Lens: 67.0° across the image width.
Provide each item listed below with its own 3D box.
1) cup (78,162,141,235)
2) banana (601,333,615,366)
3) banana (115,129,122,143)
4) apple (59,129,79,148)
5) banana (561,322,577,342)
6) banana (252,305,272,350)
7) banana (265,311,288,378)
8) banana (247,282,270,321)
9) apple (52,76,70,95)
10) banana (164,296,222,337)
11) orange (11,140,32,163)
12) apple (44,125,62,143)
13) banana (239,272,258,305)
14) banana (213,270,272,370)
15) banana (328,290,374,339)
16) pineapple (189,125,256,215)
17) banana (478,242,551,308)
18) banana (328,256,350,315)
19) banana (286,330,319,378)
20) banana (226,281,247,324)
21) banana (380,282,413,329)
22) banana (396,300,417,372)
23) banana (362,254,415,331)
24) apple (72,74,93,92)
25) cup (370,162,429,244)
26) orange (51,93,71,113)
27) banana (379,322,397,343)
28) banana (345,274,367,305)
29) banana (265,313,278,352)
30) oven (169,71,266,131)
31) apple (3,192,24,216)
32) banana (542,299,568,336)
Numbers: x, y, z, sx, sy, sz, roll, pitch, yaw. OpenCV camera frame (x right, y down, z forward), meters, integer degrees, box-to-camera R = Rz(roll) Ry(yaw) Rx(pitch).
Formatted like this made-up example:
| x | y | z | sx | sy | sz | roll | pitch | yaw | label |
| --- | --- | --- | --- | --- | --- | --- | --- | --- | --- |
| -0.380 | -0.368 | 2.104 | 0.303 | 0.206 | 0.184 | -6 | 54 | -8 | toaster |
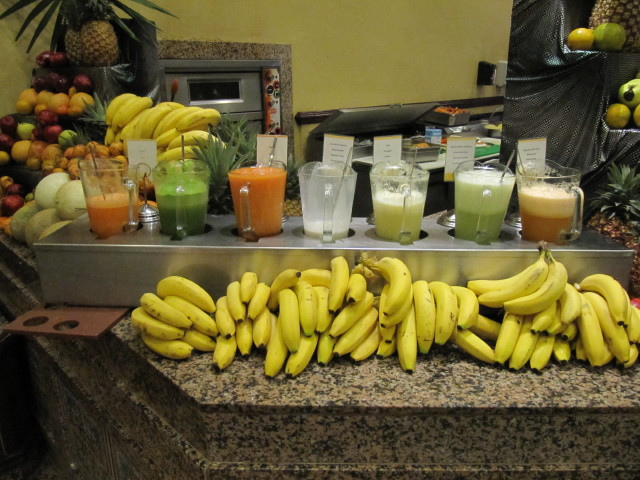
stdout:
| x | y | z | sx | sy | sz | roll | pitch | yaw | label |
| --- | --- | --- | --- | --- | --- | --- | --- | --- | --- |
| -0.837 | -0.129 | 2.007 | 0.202 | 0.306 | 0.309 | -7 | 1 | -7 | cup |
| 0.943 | 0.356 | 1.594 | 0.030 | 0.106 | 0.037 | -13 | 2 | -21 | banana |
| -1.104 | -0.568 | 2.680 | 0.032 | 0.069 | 0.056 | 24 | 34 | 13 | banana |
| -1.468 | -0.585 | 2.833 | 0.102 | 0.095 | 0.131 | -9 | 17 | -31 | apple |
| 0.831 | 0.307 | 1.613 | 0.032 | 0.023 | 0.070 | 40 | 51 | -4 | banana |
| -0.190 | 0.290 | 1.612 | 0.045 | 0.041 | 0.137 | 30 | 46 | -14 | banana |
| -0.127 | 0.336 | 1.565 | 0.051 | 0.064 | 0.196 | 6 | 58 | 4 | banana |
| -0.207 | 0.206 | 1.645 | 0.043 | 0.045 | 0.135 | 20 | 53 | 0 | banana |
| -1.620 | -0.961 | 3.026 | 0.148 | 0.109 | 0.049 | 8 | 16 | 28 | apple |
| -0.427 | 0.261 | 1.620 | 0.169 | 0.047 | 0.049 | 34 | 15 | 12 | banana |
| -1.850 | -0.542 | 3.019 | 0.126 | 0.130 | 0.128 | 0 | 1 | 15 | orange |
| -1.566 | -0.632 | 2.890 | 0.089 | 0.088 | 0.091 | 7 | 25 | 14 | apple |
| -0.249 | 0.164 | 1.686 | 0.065 | 0.050 | 0.139 | 6 | 37 | 0 | banana |
| -0.249 | 0.205 | 1.663 | 0.238 | 0.126 | 0.077 | -37 | -28 | 30 | banana |
| 0.099 | 0.251 | 1.643 | 0.068 | 0.068 | 0.226 | 15 | 50 | 47 | banana |
| -0.433 | -0.283 | 2.096 | 0.311 | 0.393 | 0.332 | -1 | 11 | -11 | pineapple |
| 0.640 | 0.144 | 1.647 | 0.286 | 0.176 | 0.090 | -25 | 27 | -1 | banana |
| 0.069 | 0.145 | 1.683 | 0.089 | 0.079 | 0.268 | -2 | 39 | 10 | banana |
| -0.054 | 0.367 | 1.596 | 0.061 | 0.049 | 0.183 | 14 | 44 | 18 | banana |
| -0.299 | 0.221 | 1.677 | 0.048 | 0.050 | 0.151 | -33 | 51 | 8 | banana |
| 0.279 | 0.218 | 1.641 | 0.068 | 0.054 | 0.196 | -12 | 42 | 49 | banana |
| 0.276 | 0.324 | 1.566 | 0.050 | 0.062 | 0.185 | -17 | 57 | 18 | banana |
| 0.247 | 0.146 | 1.701 | 0.180 | 0.109 | 0.372 | -15 | 28 | 2 | banana |
| -1.454 | -0.958 | 2.979 | 0.103 | 0.101 | 0.055 | -6 | 15 | -22 | apple |
| 0.314 | -0.109 | 1.823 | 0.217 | 0.285 | 0.319 | 0 | 26 | 2 | cup |
| -1.590 | -0.838 | 2.968 | 0.108 | 0.113 | 0.110 | -8 | 16 | -28 | orange |
| 0.224 | 0.310 | 1.596 | 0.041 | 0.075 | 0.025 | 9 | -11 | -15 | banana |
| 0.130 | 0.160 | 1.671 | 0.076 | 0.063 | 0.178 | -12 | 24 | 8 | banana |
| -0.158 | 0.317 | 1.635 | 0.029 | 0.037 | 0.111 | 6 | 59 | -1 | banana |
| -0.721 | -0.971 | 3.330 | 0.660 | 0.446 | 0.346 | -23 | 36 | -33 | oven |
| -1.688 | -0.197 | 2.715 | 0.103 | 0.103 | 0.108 | -5 | 42 | -13 | apple |
| 0.776 | 0.278 | 1.593 | 0.038 | 0.058 | 0.166 | 19 | 70 | 6 | banana |
